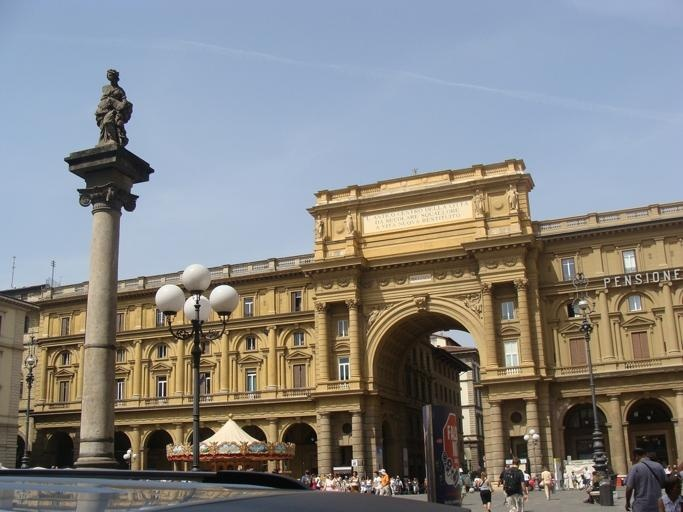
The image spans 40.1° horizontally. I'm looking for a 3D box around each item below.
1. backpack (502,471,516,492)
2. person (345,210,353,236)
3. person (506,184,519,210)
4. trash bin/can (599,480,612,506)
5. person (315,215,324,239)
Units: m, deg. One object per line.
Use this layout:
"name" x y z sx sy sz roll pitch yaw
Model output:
"backpack" 7.677 10.339 42.871 0.360 0.952 0.717 4 1 -2
"person" 0.601 -2.518 71.726 0.640 2.130 0.457 -6 -21 10
"person" 12.466 -4.162 68.115 0.889 2.045 0.582 -5 -20 6
"trash bin/can" 13.186 11.796 46.746 0.610 1.304 1.070 -6 -20 9
"person" -1.644 -2.187 72.408 0.754 1.890 0.401 -1 -20 -4
